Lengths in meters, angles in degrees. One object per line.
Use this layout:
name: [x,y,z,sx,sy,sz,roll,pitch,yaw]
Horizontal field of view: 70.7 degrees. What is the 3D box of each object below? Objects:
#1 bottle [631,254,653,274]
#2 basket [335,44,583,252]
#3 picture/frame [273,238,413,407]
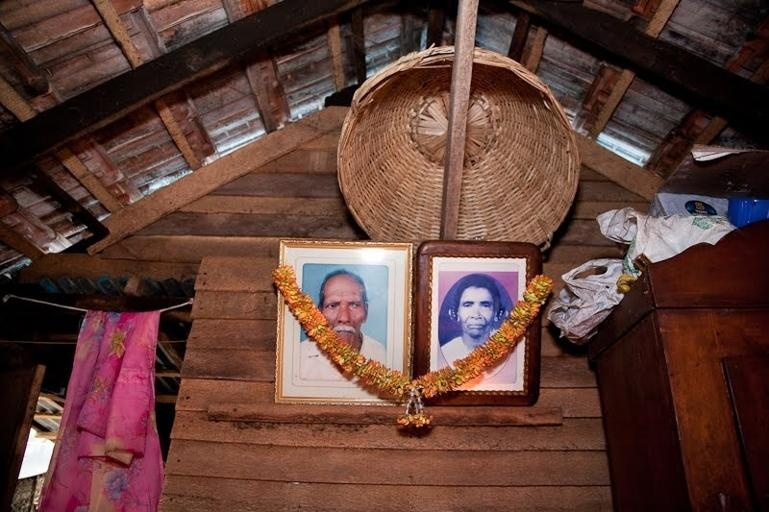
bottle: [0.979,0.031,2.050,0.067,0.067,0.068,-31,31,-19]
basket: [0.311,-0.430,2.272,0.974,0.763,0.572,3,51,4]
picture/frame: [-0.171,0.300,2.267,0.744,0.035,0.821,1,82,-4]
